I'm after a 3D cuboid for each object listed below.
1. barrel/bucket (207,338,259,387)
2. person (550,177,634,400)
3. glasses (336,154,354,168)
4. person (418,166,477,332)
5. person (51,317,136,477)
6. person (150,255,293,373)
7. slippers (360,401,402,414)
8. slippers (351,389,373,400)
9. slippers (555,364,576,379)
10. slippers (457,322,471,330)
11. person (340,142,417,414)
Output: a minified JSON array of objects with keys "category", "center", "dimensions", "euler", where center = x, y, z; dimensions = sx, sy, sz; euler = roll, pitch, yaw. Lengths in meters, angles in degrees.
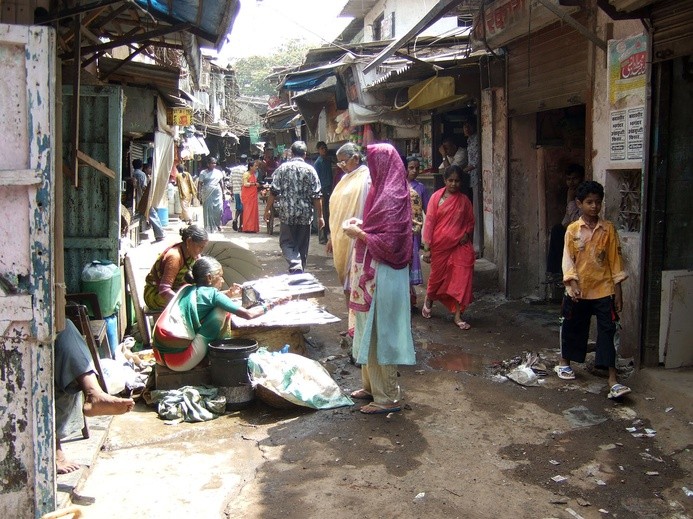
[{"category":"barrel/bucket","center":[-0.983,0.880,5.251],"dimensions":[0.370,0.295,0.386],"euler":[1,4,0]},{"category":"person","center":[2.154,0.224,5.288],"dimensions":[0.602,1.783,0.423],"euler":[10,17,40]},{"category":"glasses","center":[-0.011,-0.962,6.008],"dimensions":[0.150,0.047,0.143],"euler":[11,-4,-26]},{"category":"person","center":[1.227,-0.139,7.276],"dimensions":[0.601,1.897,0.609],"euler":[0,13,7]},{"category":"person","center":[-1.715,0.865,3.920],"dimensions":[0.423,1.006,0.932],"euler":[-11,16,-35]},{"category":"person","center":[-1.279,0.491,5.320],"dimensions":[0.840,0.943,0.464],"euler":[-5,13,-18]},{"category":"slippers","center":[0.281,1.226,4.952],"dimensions":[0.304,0.094,0.123],"euler":[2,-5,-8]},{"category":"slippers","center":[0.137,1.177,5.272],"dimensions":[0.208,0.093,0.079],"euler":[5,-3,10]},{"category":"slippers","center":[1.999,1.028,5.577],"dimensions":[0.083,0.059,0.189],"euler":[-1,13,2]},{"category":"slippers","center":[1.406,0.784,7.230],"dimensions":[0.156,0.062,0.221],"euler":[-1,12,2]},{"category":"person","center":[0.282,0.156,5.009],"dimensions":[0.574,2.173,0.631],"euler":[-2,13,-4]}]
